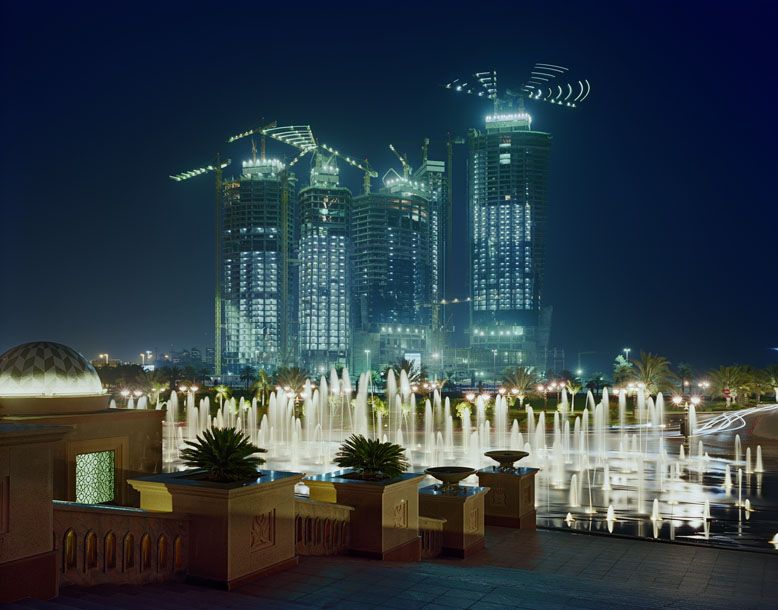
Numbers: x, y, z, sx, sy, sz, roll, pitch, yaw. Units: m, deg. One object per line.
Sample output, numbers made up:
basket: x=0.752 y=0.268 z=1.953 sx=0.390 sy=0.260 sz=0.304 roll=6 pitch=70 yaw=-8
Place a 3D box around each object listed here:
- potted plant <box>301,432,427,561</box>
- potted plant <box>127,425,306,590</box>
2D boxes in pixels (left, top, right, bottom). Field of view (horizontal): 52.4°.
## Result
potted plant: x=-0.347 y=3.467 z=14.334 sx=1.975 sy=1.986 sz=1.965 roll=0 pitch=-4 yaw=-5
potted plant: x=-2.778 y=3.071 z=12.894 sx=2.135 sy=2.558 sz=2.297 roll=-3 pitch=-6 yaw=35
